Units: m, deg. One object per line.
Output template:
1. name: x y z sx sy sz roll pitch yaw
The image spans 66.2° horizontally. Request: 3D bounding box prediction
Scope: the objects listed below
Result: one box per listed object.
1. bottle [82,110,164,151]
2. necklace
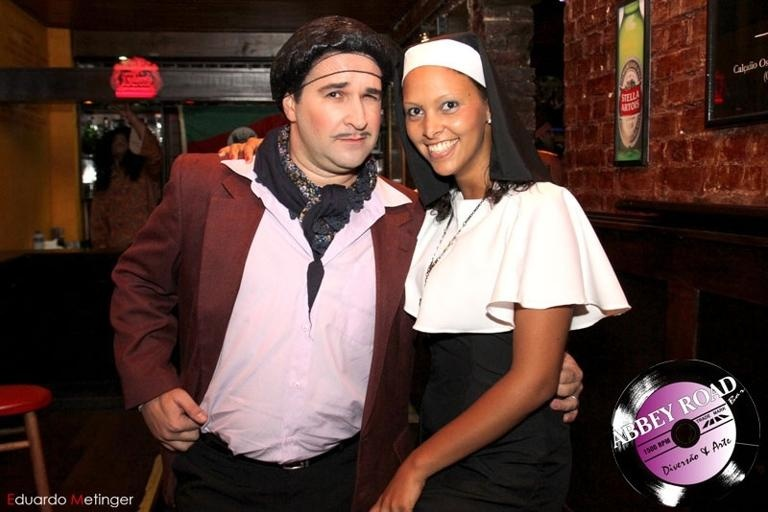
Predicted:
1. bottle: -3.265 -1.587 7.459 0.803 0.465 0.035 0 -3 -2
2. necklace: 0.350 -0.096 2.706 0.163 0.500 0.022 17 -17 45
